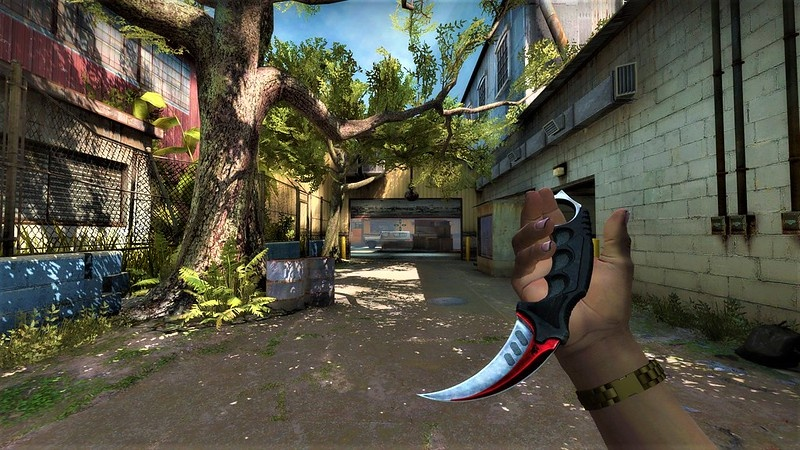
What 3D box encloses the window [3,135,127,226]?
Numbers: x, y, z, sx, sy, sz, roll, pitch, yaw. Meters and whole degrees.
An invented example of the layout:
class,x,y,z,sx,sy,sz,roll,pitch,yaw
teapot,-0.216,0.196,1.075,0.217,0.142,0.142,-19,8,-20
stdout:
class,x,y,z,sx,sy,sz,roll,pitch,yaw
window,-9.075,-1.182,10.821,0.239,1.894,2.733,1,-5,28
